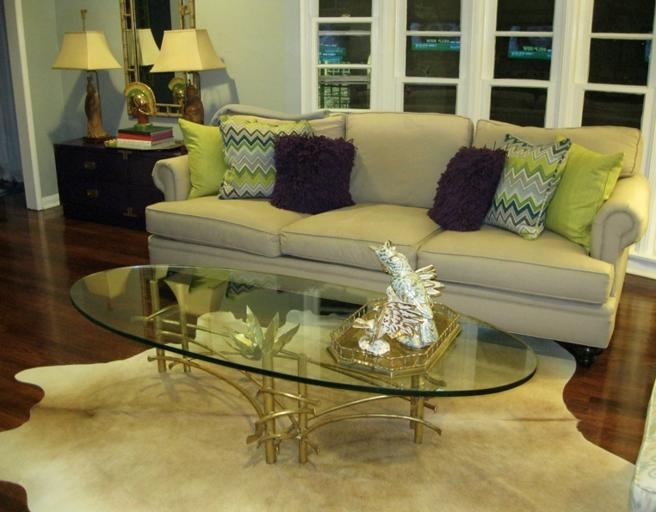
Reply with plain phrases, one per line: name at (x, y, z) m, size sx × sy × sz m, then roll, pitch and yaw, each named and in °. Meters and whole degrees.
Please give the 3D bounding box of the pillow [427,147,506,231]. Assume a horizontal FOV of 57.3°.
pillow at (0.779, -0.356, 3.254) m, size 0.428 × 0.424 × 0.164 m, roll 21°, pitch 15°, yaw 30°

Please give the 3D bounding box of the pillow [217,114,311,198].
pillow at (-0.417, -0.611, 3.768) m, size 0.688 × 0.538 × 0.246 m, roll 12°, pitch 13°, yaw 41°

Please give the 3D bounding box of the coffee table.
coffee table at (-0.185, 0.248, 2.328) m, size 1.803 × 0.137 × 0.805 m, roll 10°, pitch 20°, yaw 31°

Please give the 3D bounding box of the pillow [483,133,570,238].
pillow at (1.066, -0.379, 3.213) m, size 0.332 × 0.484 × 0.531 m, roll -19°, pitch 19°, yaw -2°

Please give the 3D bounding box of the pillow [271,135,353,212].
pillow at (-0.059, -0.489, 3.601) m, size 0.550 × 0.444 × 0.264 m, roll 8°, pitch 18°, yaw 17°
